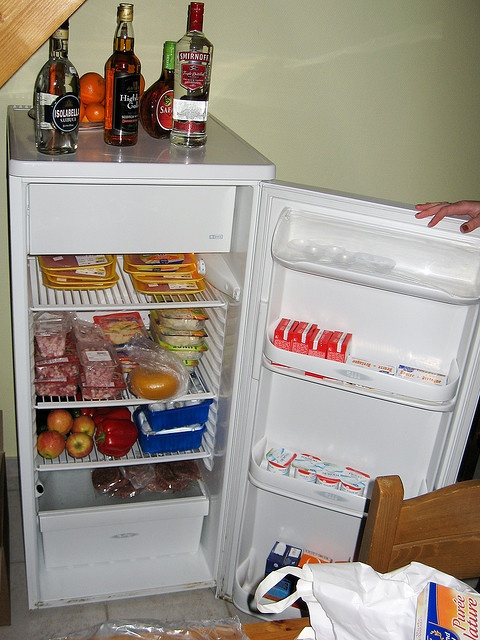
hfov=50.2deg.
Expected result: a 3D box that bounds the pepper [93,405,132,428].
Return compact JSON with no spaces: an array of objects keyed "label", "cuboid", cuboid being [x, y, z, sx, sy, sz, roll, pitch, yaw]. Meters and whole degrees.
[{"label":"pepper","cuboid":[-0.435,0.326,1.768,0.120,0.074,0.067,-1,48,-18]}]

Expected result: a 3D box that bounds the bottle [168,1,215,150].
[{"label":"bottle","cuboid":[-0.122,-0.620,1.317,0.100,0.333,0.227,5,26,-6]}]

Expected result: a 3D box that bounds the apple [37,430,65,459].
[{"label":"apple","cuboid":[-0.579,0.380,1.560,0.084,0.079,0.078,-2,58,4]}]

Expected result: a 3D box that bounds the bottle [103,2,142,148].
[{"label":"bottle","cuboid":[-0.287,-0.587,1.250,0.087,0.311,0.175,2,27,-12]}]

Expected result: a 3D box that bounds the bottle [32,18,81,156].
[{"label":"bottle","cuboid":[-0.407,-0.512,1.135,0.102,0.267,0.200,-3,28,-20]}]

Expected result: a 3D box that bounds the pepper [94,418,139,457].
[{"label":"pepper","cuboid":[-0.441,0.384,1.738,0.169,0.124,0.127,-1,-17,-42]}]

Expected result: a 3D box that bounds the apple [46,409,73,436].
[{"label":"apple","cuboid":[-0.575,0.327,1.638,0.082,0.075,0.080,23,-15,-24]}]

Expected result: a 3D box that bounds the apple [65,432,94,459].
[{"label":"apple","cuboid":[-0.507,0.397,1.621,0.081,0.075,0.081,3,-12,-10]}]
